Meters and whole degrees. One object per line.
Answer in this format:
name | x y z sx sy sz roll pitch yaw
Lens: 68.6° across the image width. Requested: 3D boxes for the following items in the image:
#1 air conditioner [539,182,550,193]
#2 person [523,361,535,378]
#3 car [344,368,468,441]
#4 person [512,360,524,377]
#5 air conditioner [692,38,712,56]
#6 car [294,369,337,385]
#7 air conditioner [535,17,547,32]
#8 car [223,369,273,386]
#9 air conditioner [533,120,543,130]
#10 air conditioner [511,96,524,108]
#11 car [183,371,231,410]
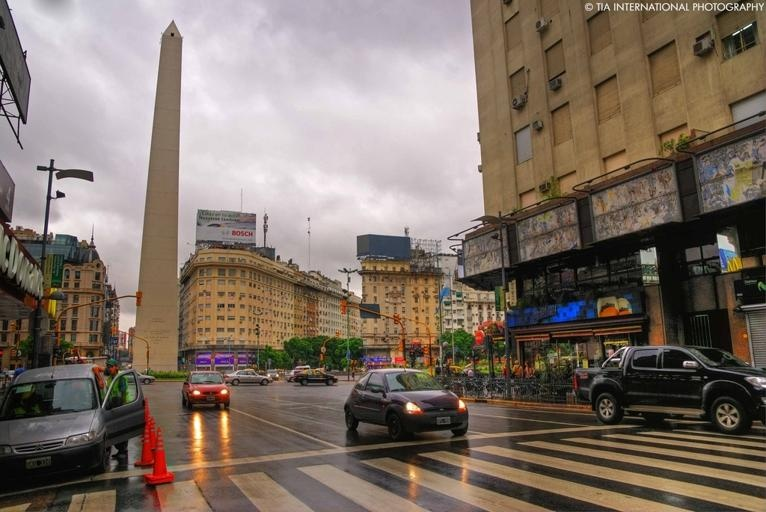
air conditioner | 10.234 -4.353 35.504 0.382 0.506 0.715 -3 -8 -15
person | 9.444 7.265 36.326 0.603 0.946 1.570 -4 -14 13
car | 0.701 4.798 18.398 3.751 2.159 1.764 -13 -18 41
person | 8.980 7.399 37.283 0.644 1.086 1.818 -3 -14 12
air conditioner | 15.633 -10.215 27.420 0.456 0.754 0.877 4 -27 -6
car | -6.888 12.509 57.957 3.850 1.689 3.039 0 -13 -4
air conditioner | 10.251 -14.968 36.283 0.499 0.892 0.956 16 -29 -19
car | -14.480 13.024 60.243 3.997 1.631 2.457 -4 -14 12
air conditioner | 10.056 -8.457 36.398 0.478 0.634 0.852 1 -1 -7
air conditioner | 9.189 -10.617 37.991 0.617 0.796 1.083 -4 7 -13
car | -9.092 6.758 28.637 1.488 1.240 3.137 3 -18 -16
